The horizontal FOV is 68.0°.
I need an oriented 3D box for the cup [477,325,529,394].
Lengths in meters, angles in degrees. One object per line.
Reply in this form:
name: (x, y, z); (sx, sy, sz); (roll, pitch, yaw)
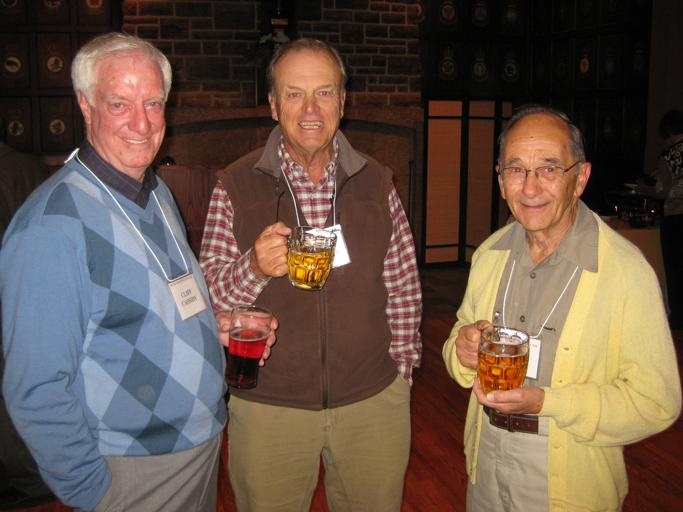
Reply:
cup: (0.521, 0.339, 1.636); (0.150, 0.204, 0.224); (2, 11, 17)

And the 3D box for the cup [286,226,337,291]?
cup: (-0.102, 0.014, 1.719); (0.144, 0.221, 0.106); (5, 13, 32)
